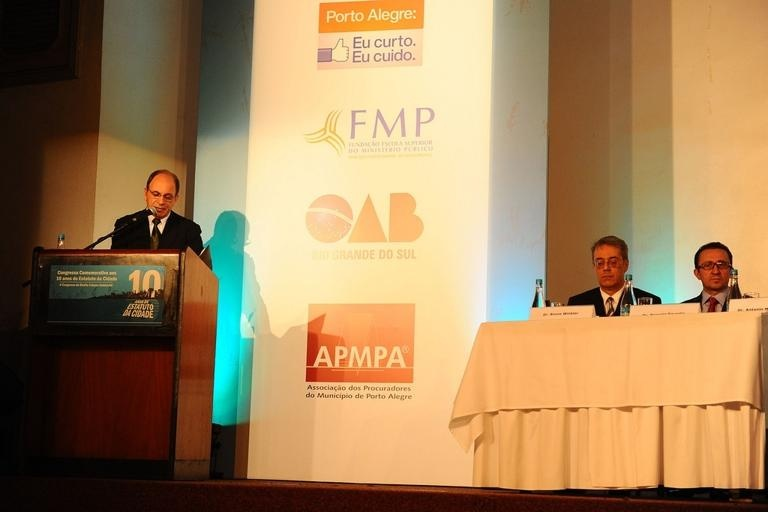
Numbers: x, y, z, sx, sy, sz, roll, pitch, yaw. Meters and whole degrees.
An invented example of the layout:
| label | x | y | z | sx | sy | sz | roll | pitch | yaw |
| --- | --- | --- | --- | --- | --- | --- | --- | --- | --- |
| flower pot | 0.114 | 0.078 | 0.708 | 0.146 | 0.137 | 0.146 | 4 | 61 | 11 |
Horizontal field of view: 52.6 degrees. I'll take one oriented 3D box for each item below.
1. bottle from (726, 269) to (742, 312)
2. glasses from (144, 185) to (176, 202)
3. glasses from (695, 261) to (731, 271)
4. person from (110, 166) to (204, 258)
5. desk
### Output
| label | x | y | z | sx | sy | sz | roll | pitch | yaw |
| --- | --- | --- | --- | --- | --- | --- | --- | --- | --- |
| bottle | 1.928 | 0.183 | 4.303 | 0.064 | 0.217 | 0.229 | -2 | -5 | 24 |
| glasses | -1.542 | -0.435 | 5.391 | 0.119 | 0.145 | 0.150 | 5 | -4 | -14 |
| glasses | 2.067 | 0.065 | 4.919 | 0.097 | 0.056 | 0.228 | 4 | -6 | -41 |
| person | -1.613 | -0.294 | 5.582 | 0.538 | 1.103 | 0.380 | 1 | -14 | -13 |
| desk | 1.278 | 0.790 | 4.393 | 1.329 | 0.853 | 0.910 | -4 | -8 | 23 |
